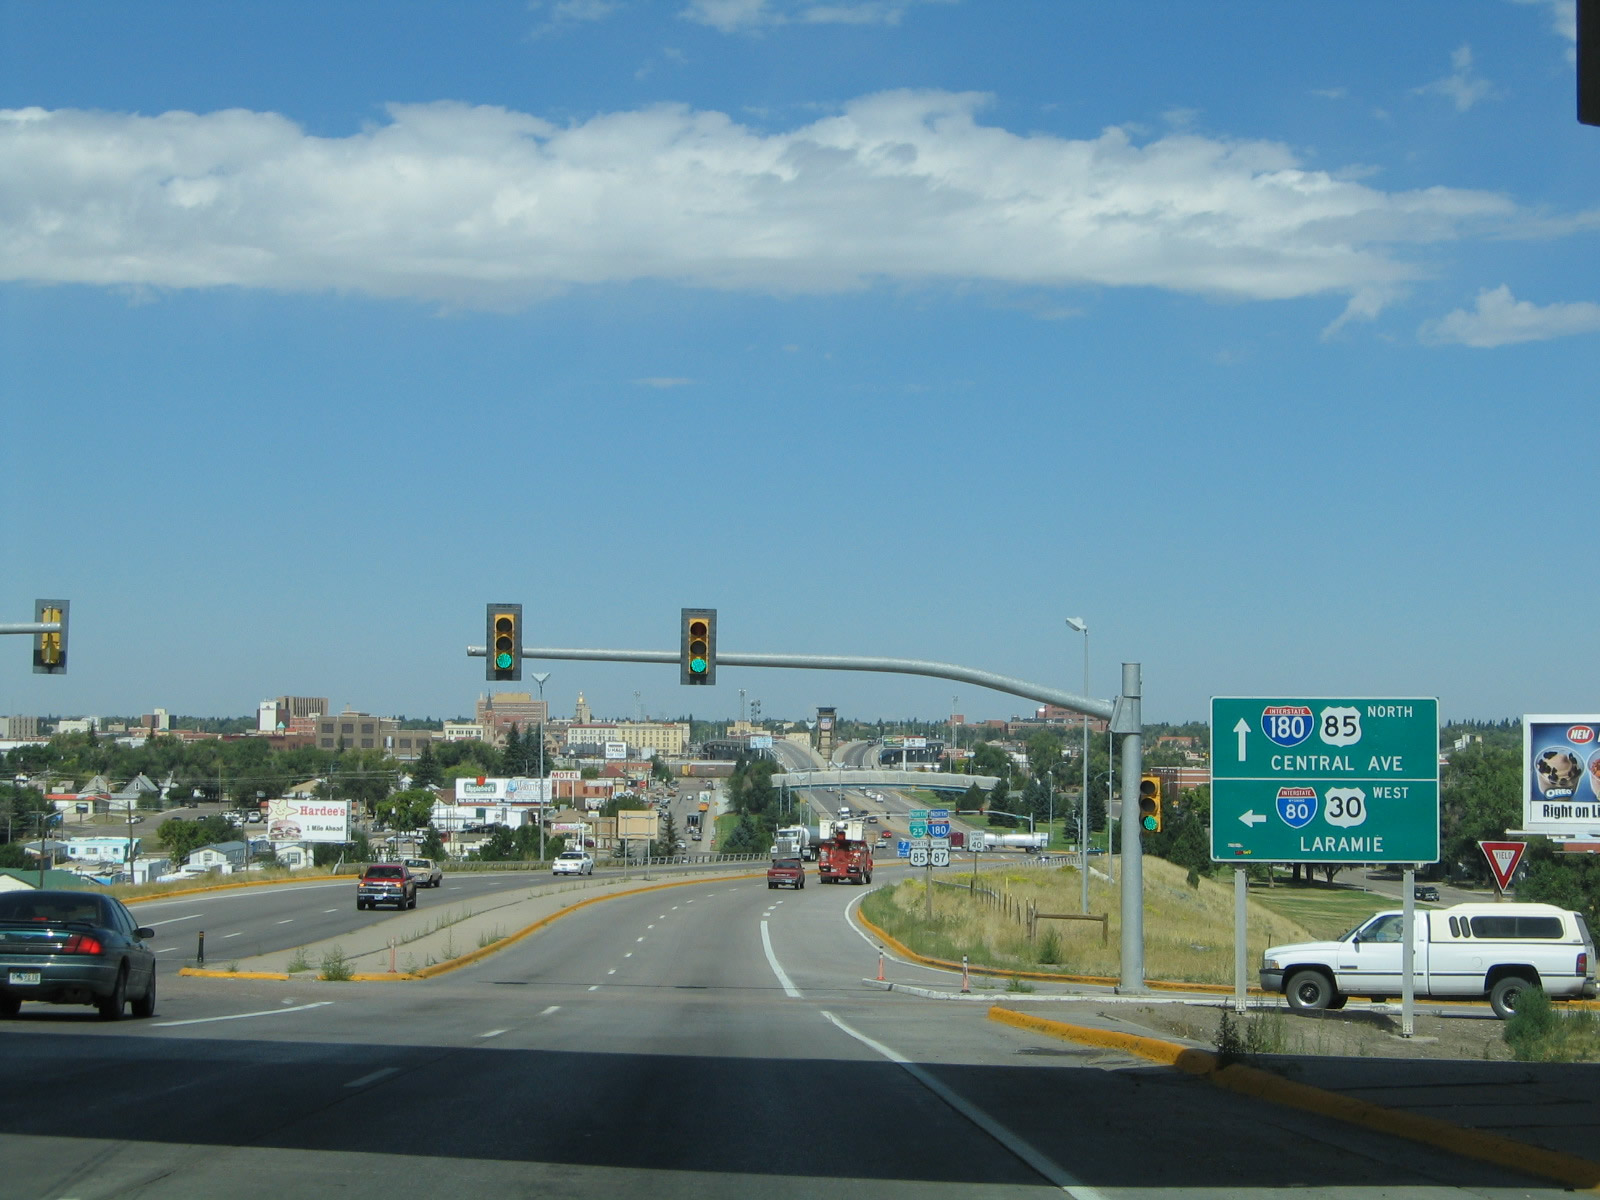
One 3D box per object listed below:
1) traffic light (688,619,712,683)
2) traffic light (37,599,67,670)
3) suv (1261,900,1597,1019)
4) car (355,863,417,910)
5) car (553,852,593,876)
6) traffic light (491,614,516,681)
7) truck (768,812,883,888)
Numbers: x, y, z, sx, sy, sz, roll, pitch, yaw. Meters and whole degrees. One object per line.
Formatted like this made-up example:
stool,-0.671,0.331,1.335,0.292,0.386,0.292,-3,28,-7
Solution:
traffic light,-2.164,0.990,62.868,0.524,1.281,0.212,-2,-4,-6
traffic light,-16.892,0.747,68.925,0.691,1.553,0.921,0,-5,-21
suv,12.729,7.211,62.708,6.152,2.015,2.790,0,-5,7
car,-13.074,8.842,95.927,1.533,1.441,1.573,-3,-5,7
car,-10.763,12.046,141.410,1.013,0.731,2.166,2,5,1
traffic light,-6.108,0.885,62.294,0.549,1.392,0.984,-2,-5,-5
truck,1.184,11.787,142.154,4.165,3.024,6.310,-1,-5,6
